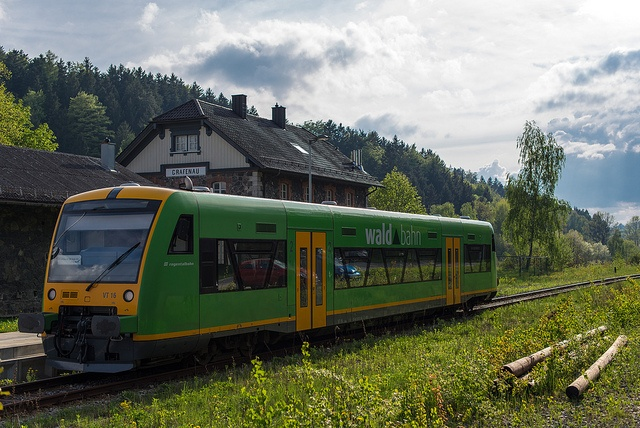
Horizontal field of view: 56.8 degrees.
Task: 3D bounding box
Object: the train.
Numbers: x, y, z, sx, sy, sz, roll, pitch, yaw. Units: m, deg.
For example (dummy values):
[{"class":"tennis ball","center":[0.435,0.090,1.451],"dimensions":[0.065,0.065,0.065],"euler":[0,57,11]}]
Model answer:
[{"class":"train","center":[0.354,1.753,19.176],"dimensions":[15.864,3.854,2.959],"euler":[3,-4,-40]}]
